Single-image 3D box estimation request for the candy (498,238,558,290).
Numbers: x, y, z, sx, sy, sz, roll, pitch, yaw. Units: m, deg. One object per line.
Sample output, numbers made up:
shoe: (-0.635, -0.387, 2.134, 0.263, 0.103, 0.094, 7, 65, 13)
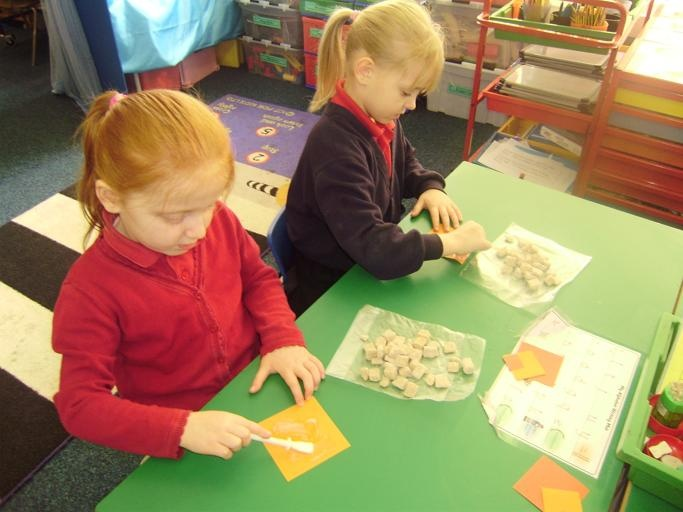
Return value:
candy: (0.479, 0.026, 1.300, 0.101, 0.055, 0.132, 9, 36, 8)
